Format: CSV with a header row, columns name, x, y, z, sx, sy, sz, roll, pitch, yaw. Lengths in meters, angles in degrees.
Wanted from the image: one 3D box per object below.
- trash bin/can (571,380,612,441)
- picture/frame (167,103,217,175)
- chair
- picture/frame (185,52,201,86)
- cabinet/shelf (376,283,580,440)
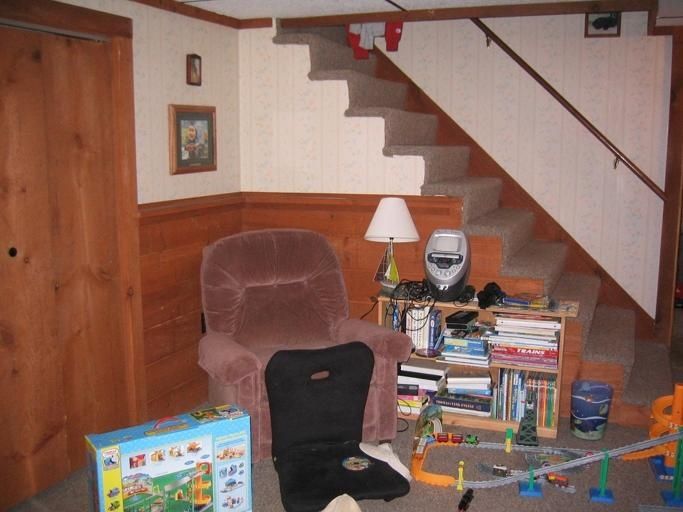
name,x,y,z,sx,sy,sz,roll,pitch,yaw
trash bin/can,1.533,0.961,3.726,0.300,0.355,0.311,1,7,3
picture/frame,-1.038,-0.814,3.973,0.034,0.445,0.499,6,10,21
chair,-0.292,0.505,3.586,1.137,1.177,0.863,-2,16,-15
picture/frame,-1.007,-1.278,3.958,0.046,0.209,0.163,5,16,12
cabinet/shelf,0.911,0.720,3.791,0.901,0.623,0.308,2,4,20
